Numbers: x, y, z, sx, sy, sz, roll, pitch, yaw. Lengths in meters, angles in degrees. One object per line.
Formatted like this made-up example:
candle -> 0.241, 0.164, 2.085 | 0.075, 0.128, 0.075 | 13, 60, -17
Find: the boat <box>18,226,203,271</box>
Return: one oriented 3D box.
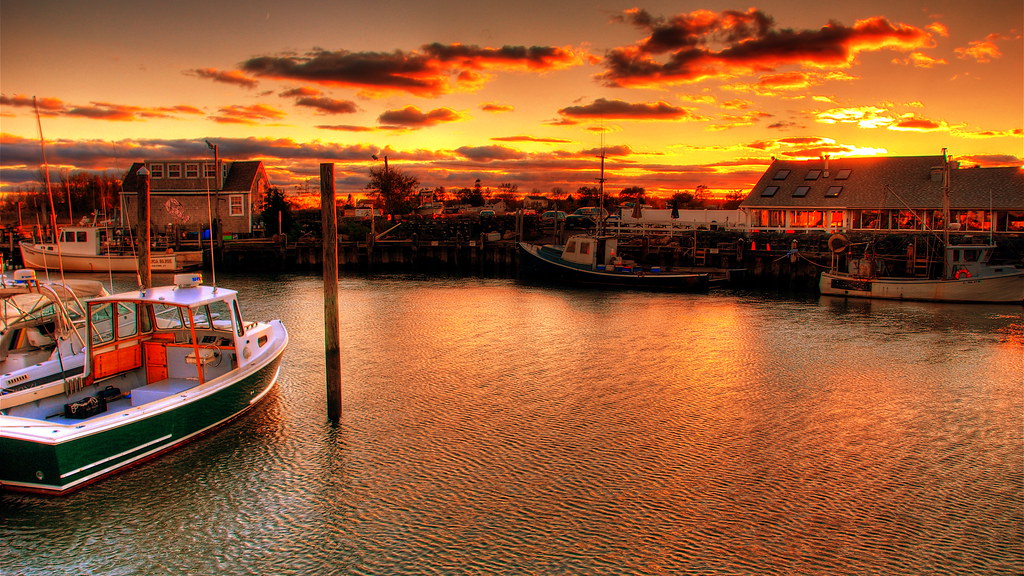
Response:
boat -> -30.652, -2.879, 62.045 | 12.510, 3.634, 4.164 | -1, 11, -6
